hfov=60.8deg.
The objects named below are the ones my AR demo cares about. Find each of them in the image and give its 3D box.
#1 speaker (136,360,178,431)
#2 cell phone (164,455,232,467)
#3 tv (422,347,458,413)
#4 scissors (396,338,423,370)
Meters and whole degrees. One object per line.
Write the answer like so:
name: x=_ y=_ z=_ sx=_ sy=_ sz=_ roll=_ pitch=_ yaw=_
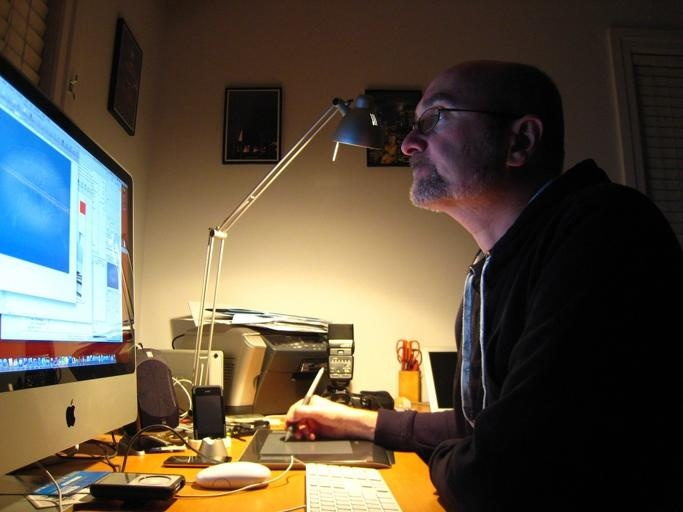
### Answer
speaker: x=-0.475 y=0.358 z=1.494 sx=0.088 sy=0.182 sz=0.045 roll=-5 pitch=-12 yaw=-34
cell phone: x=-0.333 y=0.454 z=1.311 sx=0.148 sy=0.017 sz=0.090 roll=-1 pitch=-3 yaw=-1
tv: x=0.347 y=0.428 z=2.040 sx=0.073 sy=0.224 sz=0.132 roll=14 pitch=-2 yaw=-9
scissors: x=0.273 y=0.404 z=2.383 sx=0.093 sy=0.122 sz=0.113 roll=4 pitch=-18 yaw=-7
